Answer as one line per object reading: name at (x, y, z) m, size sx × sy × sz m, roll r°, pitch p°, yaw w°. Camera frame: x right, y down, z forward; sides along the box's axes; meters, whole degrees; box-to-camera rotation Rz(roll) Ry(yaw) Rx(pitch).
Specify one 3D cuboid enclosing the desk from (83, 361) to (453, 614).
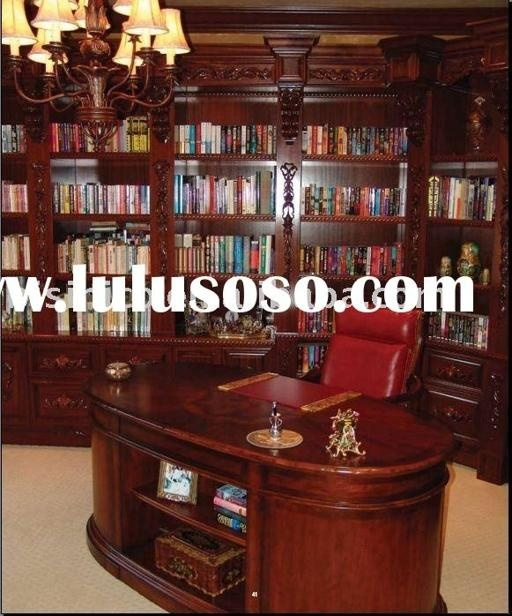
desk at (-0.029, 0.814, 2.098) m, size 1.446 × 0.848 × 0.642 m, roll 7°, pitch 9°, yaw 42°

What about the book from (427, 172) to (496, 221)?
book at (1.477, -0.781, 3.762) m, size 0.395 × 0.380 × 0.215 m, roll 6°, pitch 10°, yaw 33°
